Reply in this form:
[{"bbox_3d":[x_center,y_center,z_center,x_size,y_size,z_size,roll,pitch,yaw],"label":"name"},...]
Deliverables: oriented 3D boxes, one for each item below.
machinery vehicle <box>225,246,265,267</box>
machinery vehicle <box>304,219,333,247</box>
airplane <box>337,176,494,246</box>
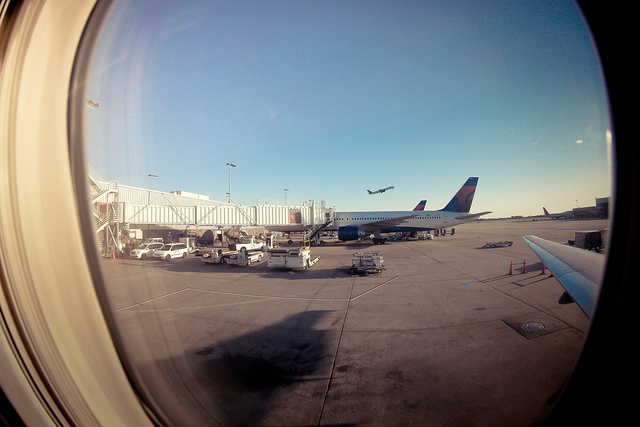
[{"bbox_3d":[-4.414,2.576,22.692,1.074,0.811,1.904,-2,5,15],"label":"machinery vehicle"},{"bbox_3d":[-0.683,1.929,37.901,2.081,2.292,6.081,-2,5,14],"label":"machinery vehicle"},{"bbox_3d":[8.550,-0.420,39.773,16.500,5.803,5.165,-5,5,-28],"label":"airplane"}]
